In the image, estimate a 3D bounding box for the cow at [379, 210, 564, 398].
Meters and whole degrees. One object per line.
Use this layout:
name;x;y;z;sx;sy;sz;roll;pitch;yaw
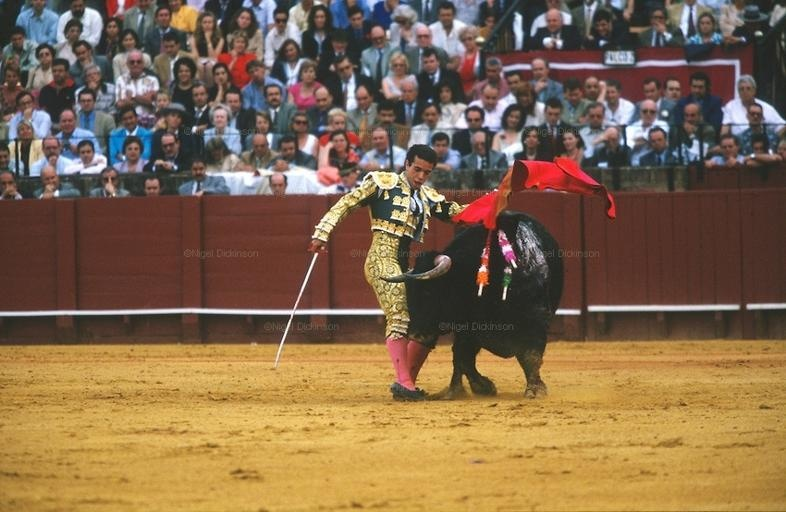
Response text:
cow;1.042;0.587;17.312;1.353;1.932;2.922;-7;-5;35

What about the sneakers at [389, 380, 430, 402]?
sneakers;0.172;1.552;17.036;0.526;0.160;0.171;12;1;-19
